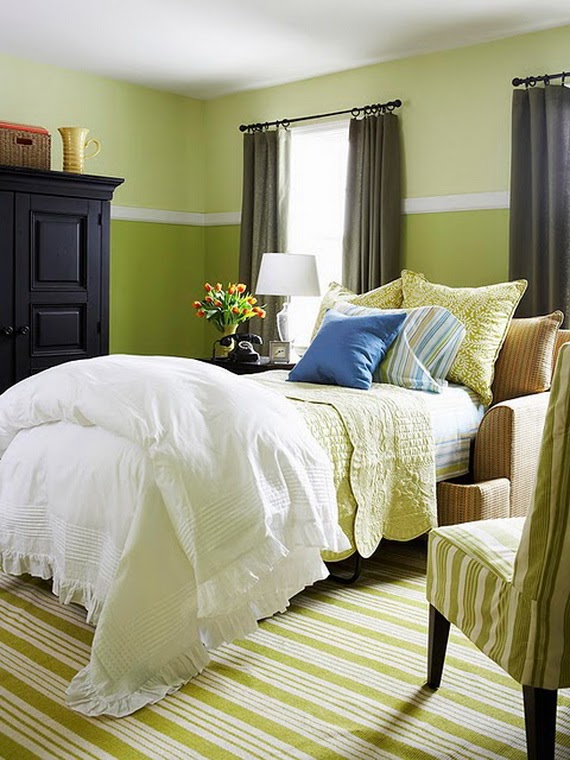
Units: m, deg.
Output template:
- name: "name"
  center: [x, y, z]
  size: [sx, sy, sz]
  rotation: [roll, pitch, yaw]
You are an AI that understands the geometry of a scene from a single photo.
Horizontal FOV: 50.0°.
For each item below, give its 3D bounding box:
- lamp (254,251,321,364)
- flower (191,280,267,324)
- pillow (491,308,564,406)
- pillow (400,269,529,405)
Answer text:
- name: "lamp"
  center: [0.010, -0.443, 3.919]
  size: [0.372, 0.632, 0.373]
  rotation: [2, -5, 18]
- name: "flower"
  center: [-0.377, -0.500, 4.207]
  size: [0.463, 0.342, 0.393]
  rotation: [1, 6, -11]
- name: "pillow"
  center: [1.179, -0.100, 2.896]
  size: [0.120, 0.411, 0.399]
  rotation: [18, -19, -27]
- name: "pillow"
  center: [0.855, -0.184, 2.863]
  size: [0.589, 0.614, 0.183]
  rotation: [13, -6, 41]
